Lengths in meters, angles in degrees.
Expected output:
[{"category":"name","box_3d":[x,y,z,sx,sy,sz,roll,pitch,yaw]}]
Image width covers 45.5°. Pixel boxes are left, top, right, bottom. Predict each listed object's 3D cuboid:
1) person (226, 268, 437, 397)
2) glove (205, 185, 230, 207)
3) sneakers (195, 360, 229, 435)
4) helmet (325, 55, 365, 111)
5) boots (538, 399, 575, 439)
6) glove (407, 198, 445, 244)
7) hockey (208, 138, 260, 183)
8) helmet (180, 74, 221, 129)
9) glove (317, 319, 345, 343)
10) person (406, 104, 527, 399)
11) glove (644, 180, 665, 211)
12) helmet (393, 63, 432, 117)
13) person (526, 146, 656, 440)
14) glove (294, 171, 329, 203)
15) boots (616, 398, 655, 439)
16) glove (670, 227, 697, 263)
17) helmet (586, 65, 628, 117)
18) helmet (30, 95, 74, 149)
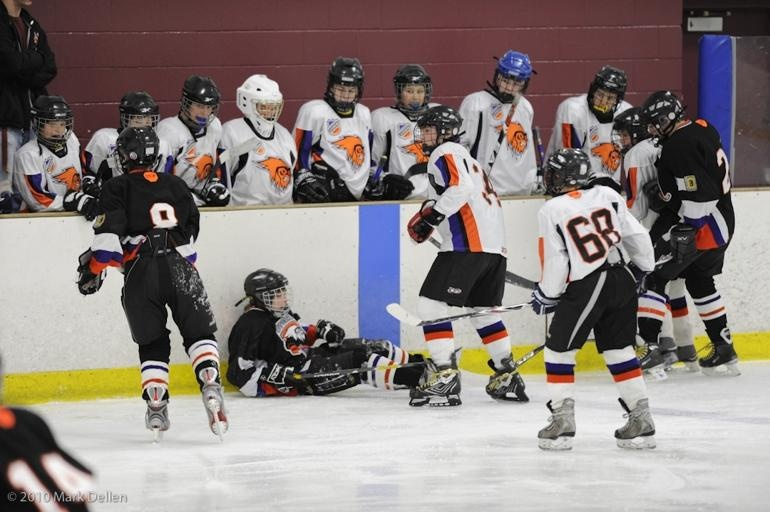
[{"category":"person","box_3d":[-0.404,0.493,6.822,1.377,0.889,0.794,0,17,1]},{"category":"glove","box_3d":[-1.239,-0.422,6.865,0.159,0.172,0.140,-3,-9,33]},{"category":"sneakers","box_3d":[-1.053,0.882,5.560,0.171,0.472,0.241,-4,5,-11]},{"category":"helmet","box_3d":[-0.349,-1.378,7.255,0.298,0.416,0.400,3,21,-10]},{"category":"boots","box_3d":[0.995,0.942,5.342,0.209,0.223,0.125,-2,5,8]},{"category":"glove","box_3d":[0.262,-0.241,6.288,0.127,0.299,0.212,13,29,-50]},{"category":"hockey","box_3d":[-1.162,-0.715,6.974,0.462,0.127,0.129,-29,3,17]},{"category":"helmet","box_3d":[-1.402,-1.195,6.939,0.286,0.376,0.370,-11,41,-39]},{"category":"glove","box_3d":[-0.406,0.578,6.741,0.185,0.143,0.180,21,-18,-17]},{"category":"person","box_3d":[0.529,-0.012,6.366,0.790,2.068,0.355,-3,4,4]},{"category":"glove","box_3d":[2.023,-0.454,6.899,0.167,0.207,0.154,-6,2,43]},{"category":"helmet","box_3d":[0.176,-1.337,7.377,0.302,0.404,0.394,-4,21,-7]},{"category":"person","box_3d":[1.224,0.351,5.404,0.689,1.514,0.453,-2,5,12]},{"category":"glove","box_3d":[-0.559,-0.514,7.046,0.260,0.218,0.125,7,-35,2]},{"category":"boots","box_3d":[1.450,0.947,5.354,0.221,0.247,0.171,-2,5,14]},{"category":"glove","box_3d":[2.212,-0.079,6.793,0.215,0.314,0.169,-2,9,4]},{"category":"helmet","box_3d":[1.827,-1.381,7.496,0.278,0.408,0.411,20,41,-2]},{"category":"helmet","box_3d":[-2.403,-0.956,6.611,0.274,0.371,0.370,-11,31,-40]}]
